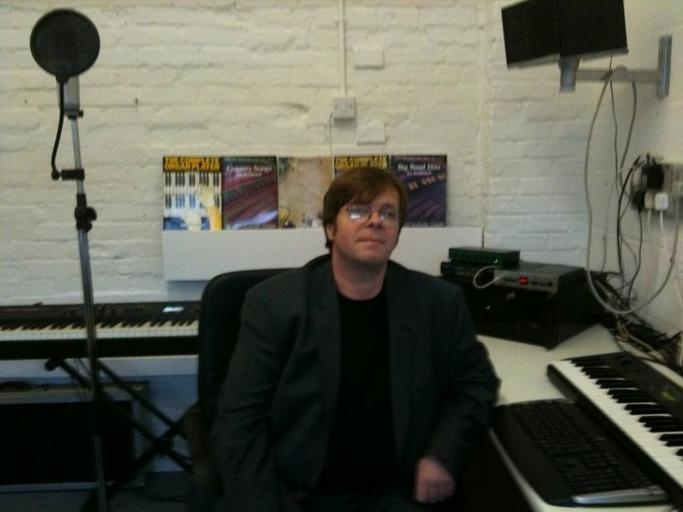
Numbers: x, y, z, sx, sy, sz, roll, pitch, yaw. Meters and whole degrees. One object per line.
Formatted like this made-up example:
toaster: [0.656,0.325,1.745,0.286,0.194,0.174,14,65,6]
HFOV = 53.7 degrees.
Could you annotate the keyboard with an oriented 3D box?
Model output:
keyboard: [0.696,0.605,2.104,0.357,0.143,0.498,-5,13,-13]

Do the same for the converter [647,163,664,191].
converter: [1.220,-0.306,2.619,0.064,0.101,0.026,4,13,29]
